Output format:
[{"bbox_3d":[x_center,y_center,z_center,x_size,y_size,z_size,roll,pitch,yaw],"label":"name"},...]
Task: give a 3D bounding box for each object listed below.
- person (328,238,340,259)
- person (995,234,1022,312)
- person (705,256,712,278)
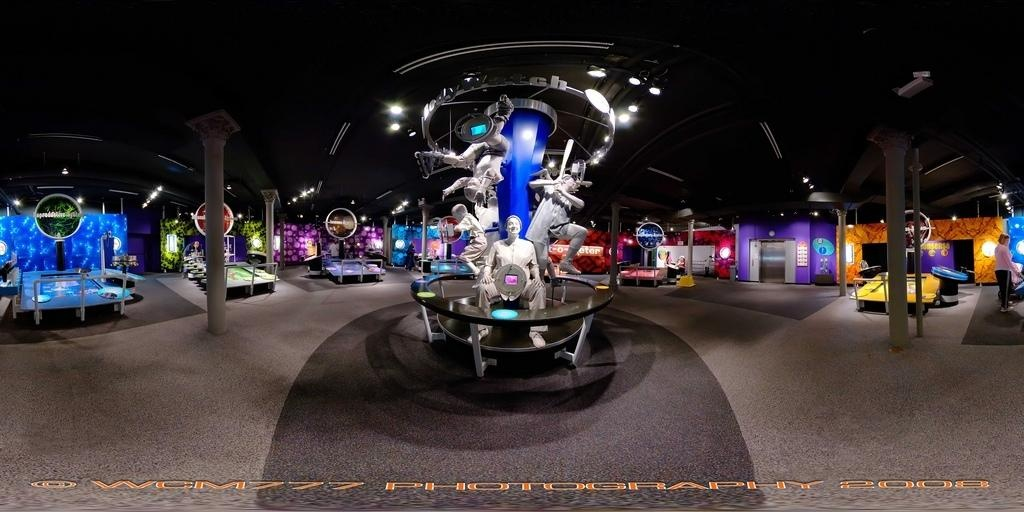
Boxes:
[{"bbox_3d":[-9.937,-0.474,27.825,1.122,0.884,0.309,2,1,35],"label":"person"},{"bbox_3d":[13.858,0.412,14.120,0.436,2.479,1.611,3,2,45],"label":"person"},{"bbox_3d":[9.928,0.457,25.345,0.357,0.886,0.573,2,1,13],"label":"person"}]
